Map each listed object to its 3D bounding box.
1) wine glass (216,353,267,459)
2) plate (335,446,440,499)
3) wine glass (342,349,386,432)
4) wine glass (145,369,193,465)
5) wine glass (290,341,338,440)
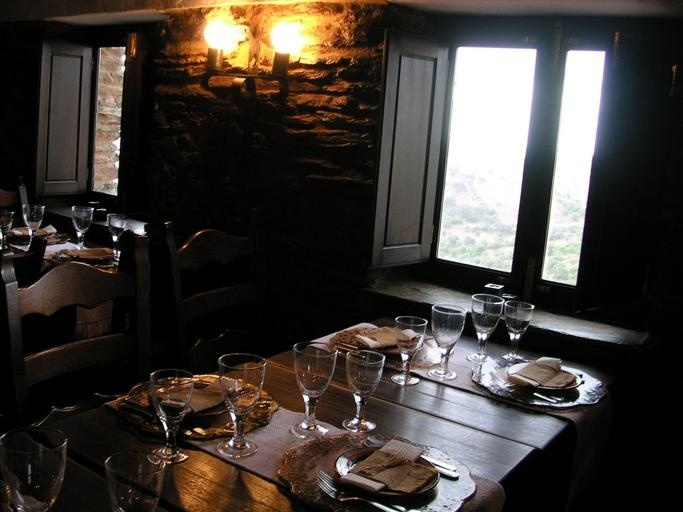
[{"bbox_3d":[-0.252,0.344,1.314,0.107,0.216,0.199,4,13,-12],"label":"wine glass"},{"bbox_3d":[0.101,0.469,1.159,0.115,0.011,0.117,5,11,21],"label":"plate"},{"bbox_3d":[0.057,0.344,1.473,0.103,0.220,0.249,7,13,2],"label":"wine glass"},{"bbox_3d":[-0.402,0.359,1.260,0.095,0.196,0.221,3,13,-15],"label":"wine glass"},{"bbox_3d":[-0.085,0.335,1.410,0.107,0.227,0.202,3,13,-16],"label":"wine glass"}]
